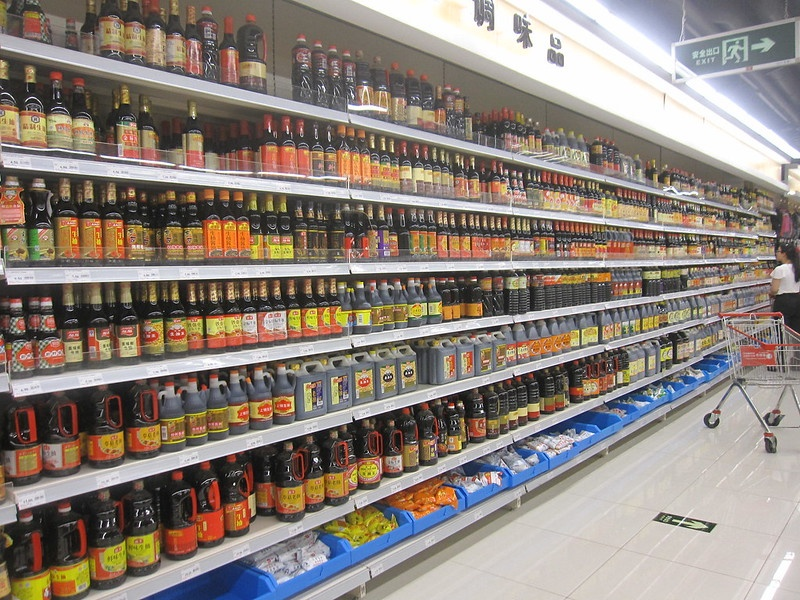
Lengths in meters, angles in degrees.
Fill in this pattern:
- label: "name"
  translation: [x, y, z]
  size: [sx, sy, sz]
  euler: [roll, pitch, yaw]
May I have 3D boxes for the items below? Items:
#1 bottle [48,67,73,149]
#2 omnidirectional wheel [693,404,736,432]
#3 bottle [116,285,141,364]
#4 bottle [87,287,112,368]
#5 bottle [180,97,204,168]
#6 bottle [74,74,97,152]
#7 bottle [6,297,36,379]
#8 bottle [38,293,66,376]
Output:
- label: "bottle"
  translation: [-1.572, -0.873, 2.821]
  size: [0.112, 0.357, 0.077]
  euler: [-7, 8, -40]
- label: "omnidirectional wheel"
  translation: [3.324, 1.233, 6.478]
  size: [0.269, 0.254, 0.262]
  euler: [-18, 3, 1]
- label: "bottle"
  translation: [-1.349, 0.114, 3.019]
  size: [0.102, 0.388, 0.108]
  euler: [-2, 6, 0]
- label: "bottle"
  translation: [-1.461, 0.118, 2.962]
  size: [0.116, 0.385, 0.129]
  euler: [-5, 6, -25]
- label: "bottle"
  translation: [-1.094, -0.859, 3.230]
  size: [0.111, 0.348, 0.244]
  euler: [-4, 6, -18]
- label: "bottle"
  translation: [-1.491, -0.865, 2.871]
  size: [0.093, 0.348, 0.086]
  euler: [-2, 6, 0]
- label: "bottle"
  translation: [-1.705, 0.168, 2.743]
  size: [0.106, 0.349, 0.097]
  euler: [-5, 6, -24]
- label: "bottle"
  translation: [-1.610, 0.162, 2.808]
  size: [0.100, 0.348, 0.089]
  euler: [-4, 6, -14]
